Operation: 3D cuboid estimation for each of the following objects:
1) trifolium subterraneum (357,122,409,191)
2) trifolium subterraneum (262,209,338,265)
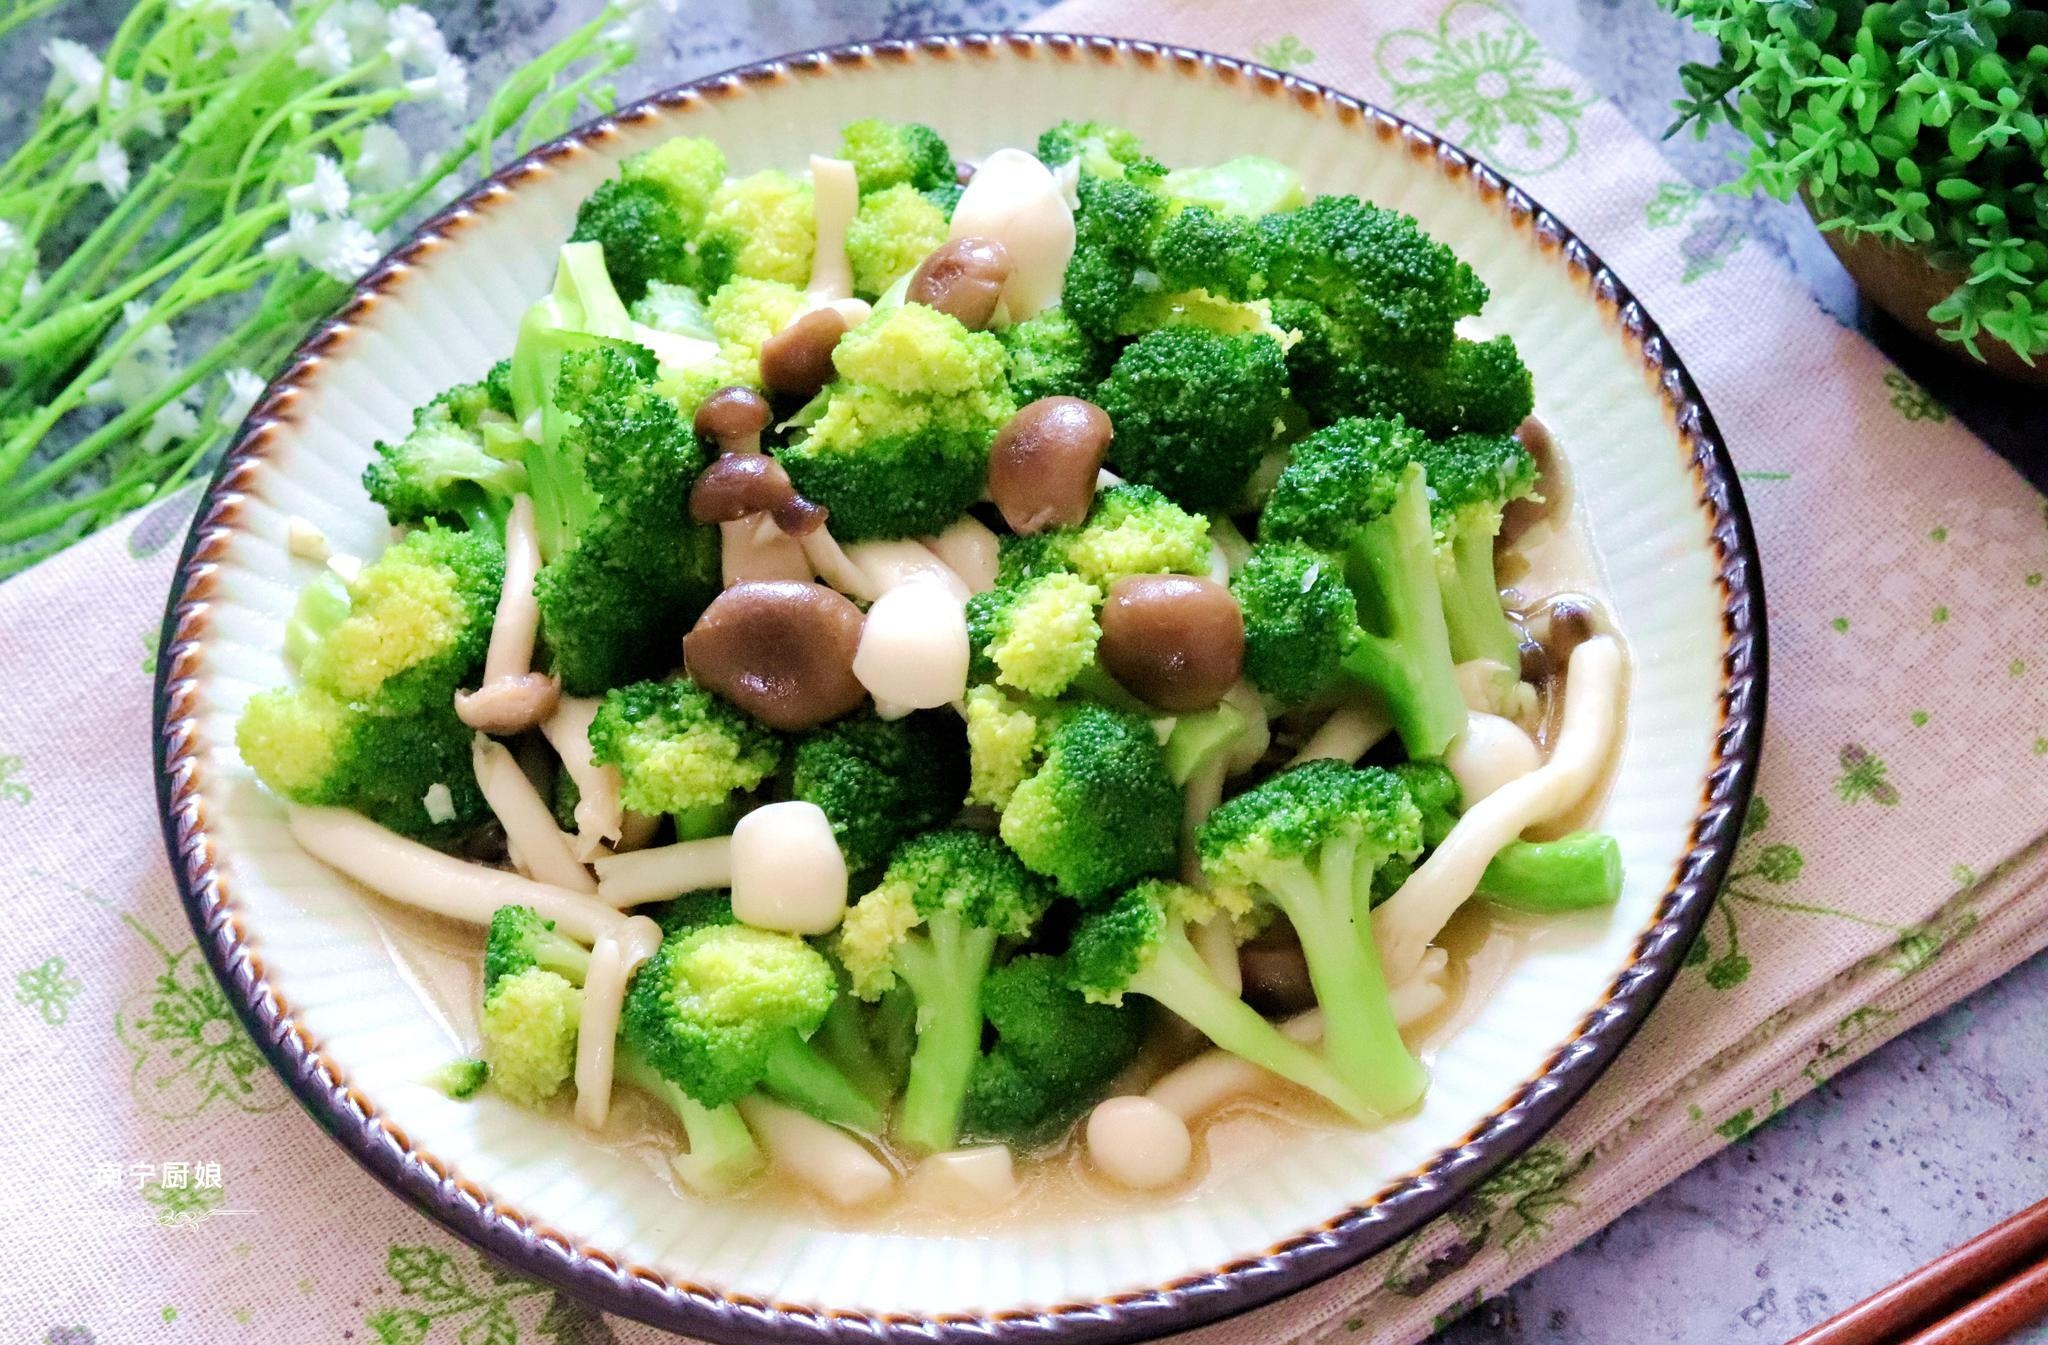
[{"bbox_3d":[-0.918,-0.734,2.285,0.090,0.094,0.023,5,9,3],"label":"trifolium subterraneum"},{"bbox_3d":[-0.926,-0.561,2.067,0.088,0.067,0.042,-16,29,14],"label":"trifolium subterraneum"}]
